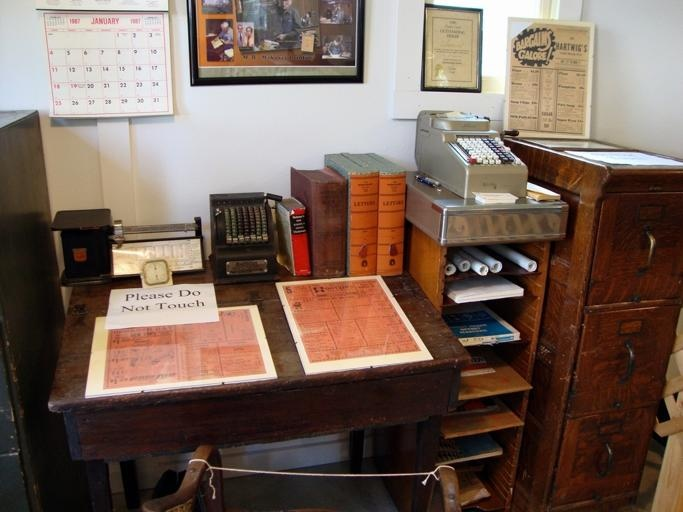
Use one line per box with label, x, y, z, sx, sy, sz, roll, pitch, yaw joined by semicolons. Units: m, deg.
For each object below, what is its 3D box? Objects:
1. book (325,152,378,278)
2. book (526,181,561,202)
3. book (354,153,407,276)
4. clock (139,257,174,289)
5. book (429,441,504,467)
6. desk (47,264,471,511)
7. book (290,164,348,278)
book;0.042;-0.143;2.204;0.134;0.360;0.372;-2;24;-8
book;0.792;-0.247;2.105;0.125;0.055;0.174;2;17;19
book;0.155;-0.156;2.215;0.221;0.357;0.387;-1;24;-4
clock;-0.734;0.068;2.112;0.112;0.109;0.026;-2;-6;-20
book;0.572;0.859;2.395;0.171;0.040;0.168;-2;11;-5
desk;-0.339;0.613;2.217;1.463;1.060;0.821;-6;38;-12
book;-0.088;-0.122;2.206;0.166;0.447;0.436;-2;-6;-10
